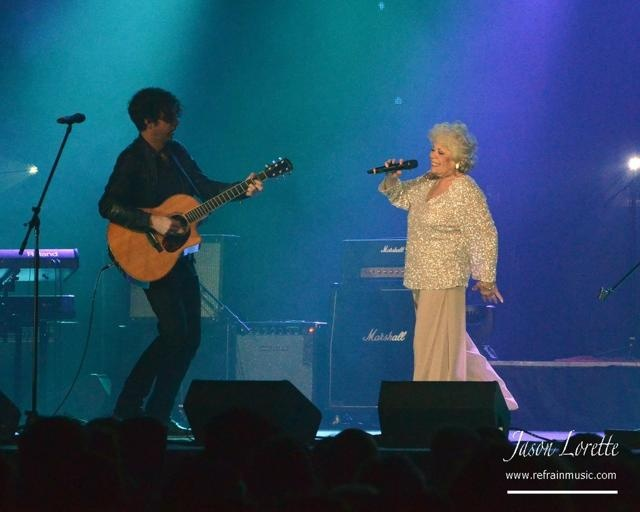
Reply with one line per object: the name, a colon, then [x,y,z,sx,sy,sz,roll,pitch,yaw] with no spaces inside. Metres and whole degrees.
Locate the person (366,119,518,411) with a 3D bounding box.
person: [0.755,-0.030,4.364,0.732,1.630,0.239,0,-7,33]

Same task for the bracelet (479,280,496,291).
bracelet: [1.022,0.184,4.206,0.106,0.053,0.071,4,-6,5]
